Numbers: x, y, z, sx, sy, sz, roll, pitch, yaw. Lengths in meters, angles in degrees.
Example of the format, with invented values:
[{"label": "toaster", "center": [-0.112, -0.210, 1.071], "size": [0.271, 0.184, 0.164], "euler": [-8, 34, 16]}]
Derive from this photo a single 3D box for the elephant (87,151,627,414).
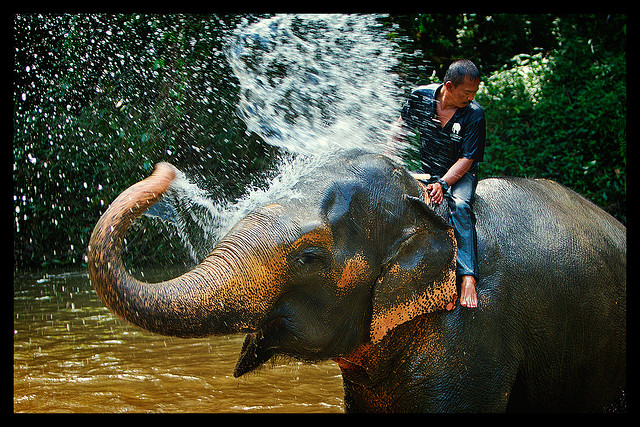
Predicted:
[{"label": "elephant", "center": [0.463, 0.461, 4.110], "size": [3.599, 2.217, 1.299], "euler": [4, -8, -17]}]
